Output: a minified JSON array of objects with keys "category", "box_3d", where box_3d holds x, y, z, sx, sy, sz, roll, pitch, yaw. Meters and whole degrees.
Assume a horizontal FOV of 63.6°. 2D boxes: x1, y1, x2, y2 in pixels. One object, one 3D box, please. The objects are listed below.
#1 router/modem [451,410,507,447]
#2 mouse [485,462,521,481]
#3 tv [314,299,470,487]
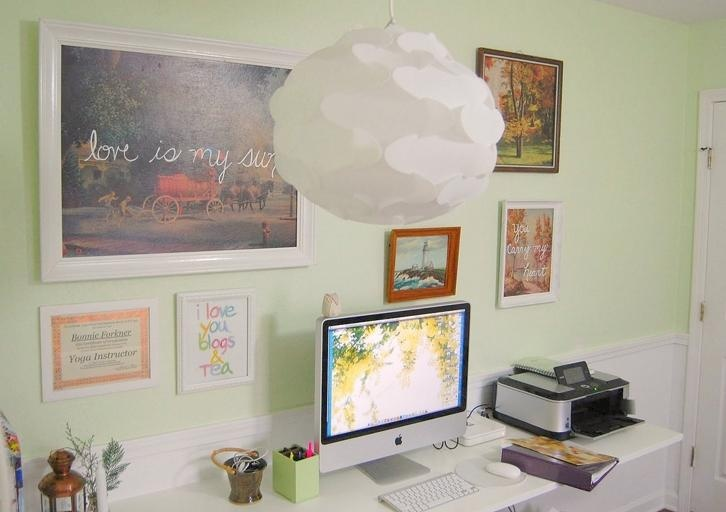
[{"category":"router/modem","box_3d":[0.569,0.812,2.805,0.202,0.105,0.208,5,5,37]},{"category":"mouse","box_3d":[0.617,0.907,2.493,0.092,0.025,0.066,4,6,36]},{"category":"tv","box_3d":[0.121,0.586,2.472,0.704,0.657,0.225,-3,5,-31]}]
